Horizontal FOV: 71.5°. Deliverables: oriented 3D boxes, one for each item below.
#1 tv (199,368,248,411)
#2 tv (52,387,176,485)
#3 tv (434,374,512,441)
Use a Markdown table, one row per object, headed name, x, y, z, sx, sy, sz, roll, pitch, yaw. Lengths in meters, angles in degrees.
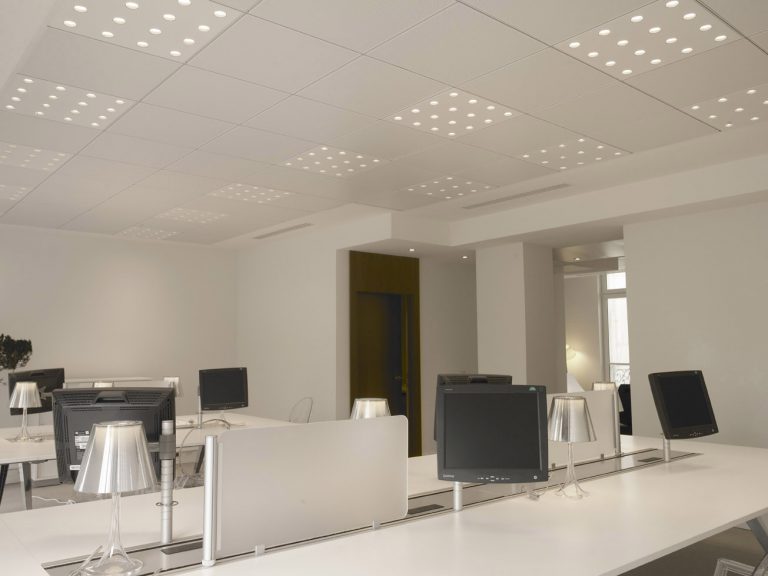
| name | x | y | z | sx | sy | sz | roll | pitch | yaw |
| --- | --- | --- | --- | --- | --- | --- | --- | --- | --- |
| tv | -1.770 | 1.124 | 5.873 | 0.439 | 0.376 | 0.168 | 3 | -15 | -28 |
| tv | -1.363 | 0.749 | 2.709 | 0.536 | 0.470 | 0.177 | 0 | -5 | 0 |
| tv | 0.489 | 0.666 | 2.909 | 0.359 | 0.369 | 0.217 | 3 | -5 | -19 |
